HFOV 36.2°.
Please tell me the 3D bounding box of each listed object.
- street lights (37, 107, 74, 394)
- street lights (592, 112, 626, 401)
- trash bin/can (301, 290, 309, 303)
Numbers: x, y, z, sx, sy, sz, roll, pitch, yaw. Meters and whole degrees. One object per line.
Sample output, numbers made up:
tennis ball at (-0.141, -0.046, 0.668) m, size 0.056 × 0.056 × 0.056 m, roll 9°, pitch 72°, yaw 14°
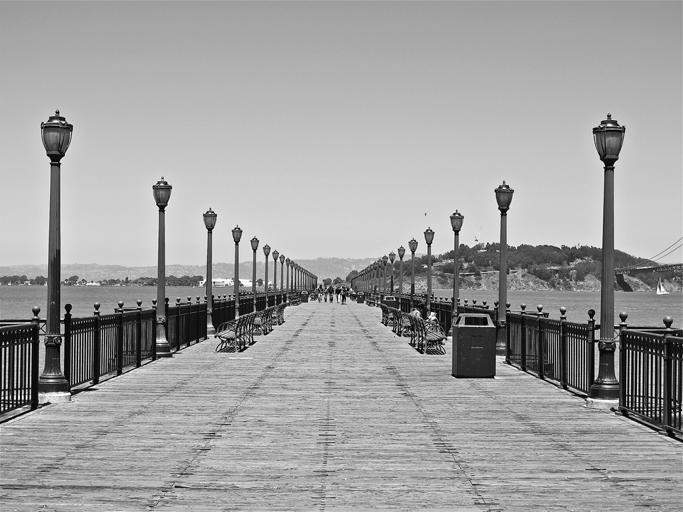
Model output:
street lights at (-5.114, -0.064, 18.703) m, size 0.730 × 5.236 × 0.550 m, roll 3°, pitch -1°, yaw 40°
street lights at (4.785, -0.007, 18.771) m, size 0.612 × 4.506 × 0.787 m, roll 3°, pitch -1°, yaw -1°
trash bin/can at (-3.302, 3.765, 94.594) m, size 0.806 × 0.911 × 0.640 m, roll -1°, pitch 4°, yaw 0°
